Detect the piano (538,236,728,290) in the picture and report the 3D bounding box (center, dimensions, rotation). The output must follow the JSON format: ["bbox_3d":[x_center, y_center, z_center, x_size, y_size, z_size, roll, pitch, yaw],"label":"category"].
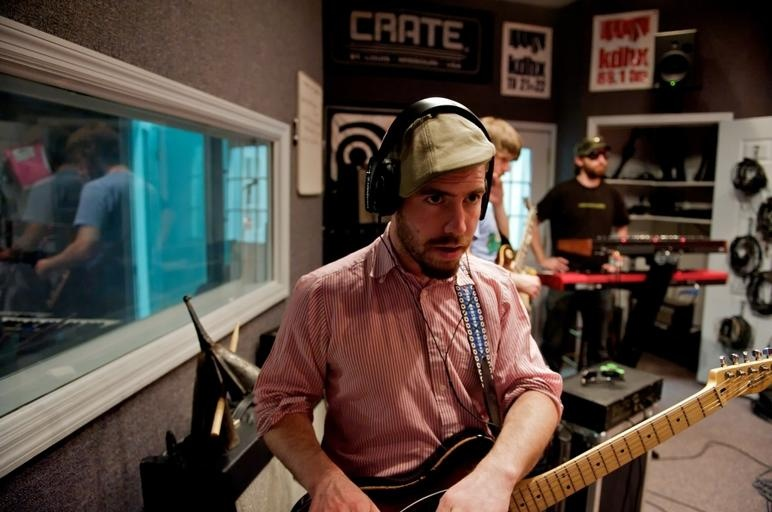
[{"bbox_3d":[1.646,0.038,3.805,1.182,0.373,0.290,3,6,5],"label":"piano"}]

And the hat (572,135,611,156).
[{"bbox_3d":[1.618,-0.866,4.559,0.159,0.107,0.203,-7,-1,-24],"label":"hat"}]

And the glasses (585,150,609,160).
[{"bbox_3d":[1.670,-0.799,4.505,0.083,0.053,0.118,-5,0,6],"label":"glasses"}]
